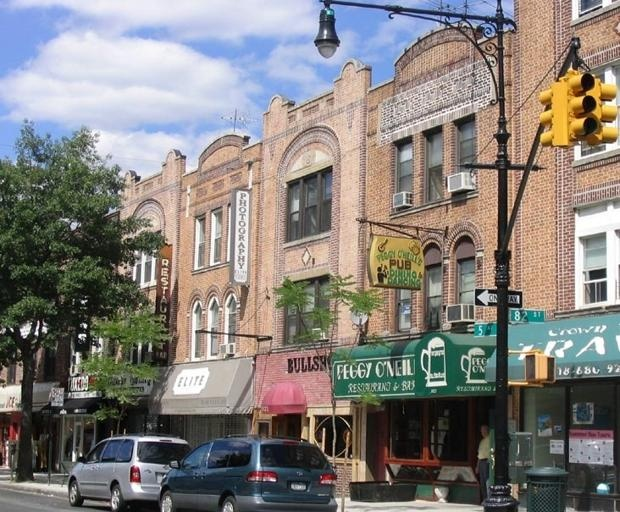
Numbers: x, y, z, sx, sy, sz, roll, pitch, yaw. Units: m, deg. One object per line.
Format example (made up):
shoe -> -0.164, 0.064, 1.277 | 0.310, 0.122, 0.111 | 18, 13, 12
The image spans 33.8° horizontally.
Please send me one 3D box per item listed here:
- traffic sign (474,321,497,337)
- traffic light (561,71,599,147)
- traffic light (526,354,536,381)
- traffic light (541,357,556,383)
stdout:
traffic sign -> 4.078, 1.718, 23.486 | 0.575, 0.386, 0.556 | 3, -5, -36
traffic light -> 4.531, -2.471, 17.025 | 0.394, 1.283, 0.543 | 10, -17, -35
traffic light -> 4.273, 2.154, 19.599 | 0.093, 0.479, 0.290 | 10, -18, -34
traffic light -> 4.647, 2.183, 19.690 | 0.205, 0.475, 0.559 | -3, -16, 12
